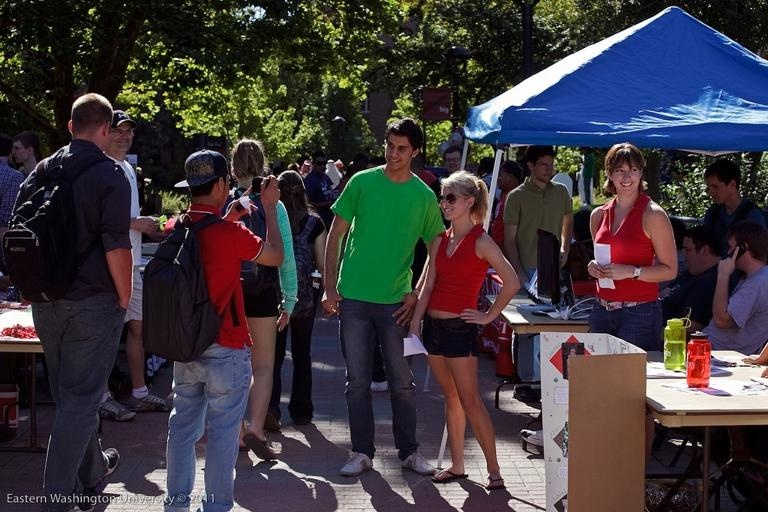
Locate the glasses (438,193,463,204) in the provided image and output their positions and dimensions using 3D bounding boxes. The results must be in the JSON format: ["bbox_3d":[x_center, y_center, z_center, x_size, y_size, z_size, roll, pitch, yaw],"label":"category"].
[{"bbox_3d":[0.553,-0.482,5.849,0.204,0.095,0.213,1,-4,25],"label":"glasses"}]

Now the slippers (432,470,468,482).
[{"bbox_3d":[0.536,1.825,5.935,0.257,0.095,0.109,3,-5,-8],"label":"slippers"}]

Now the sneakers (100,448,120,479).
[{"bbox_3d":[-2.306,1.719,5.973,0.120,0.195,0.376,-2,9,-22],"label":"sneakers"}]

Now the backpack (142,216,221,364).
[{"bbox_3d":[-1.370,0.249,4.747,0.481,0.863,0.260,4,8,23],"label":"backpack"}]

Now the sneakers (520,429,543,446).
[{"bbox_3d":[1.383,1.697,6.669,0.160,0.087,0.228,6,-6,-29],"label":"sneakers"}]

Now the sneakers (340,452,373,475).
[{"bbox_3d":[-0.237,1.787,6.122,0.127,0.143,0.307,-5,-7,40],"label":"sneakers"}]

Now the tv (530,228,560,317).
[{"bbox_3d":[1.442,0.131,6.546,0.331,0.690,0.700,0,8,10],"label":"tv"}]

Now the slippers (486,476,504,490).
[{"bbox_3d":[0.923,1.855,5.844,0.173,0.107,0.080,0,8,-11],"label":"slippers"}]

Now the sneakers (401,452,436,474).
[{"bbox_3d":[0.294,1.795,6.146,0.311,0.132,0.126,2,3,43],"label":"sneakers"}]

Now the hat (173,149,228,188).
[{"bbox_3d":[-1.287,-0.636,4.976,0.276,0.232,0.426,-1,12,18],"label":"hat"}]

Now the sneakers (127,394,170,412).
[{"bbox_3d":[-2.453,1.524,7.395,0.415,0.212,0.175,-1,0,-10],"label":"sneakers"}]
